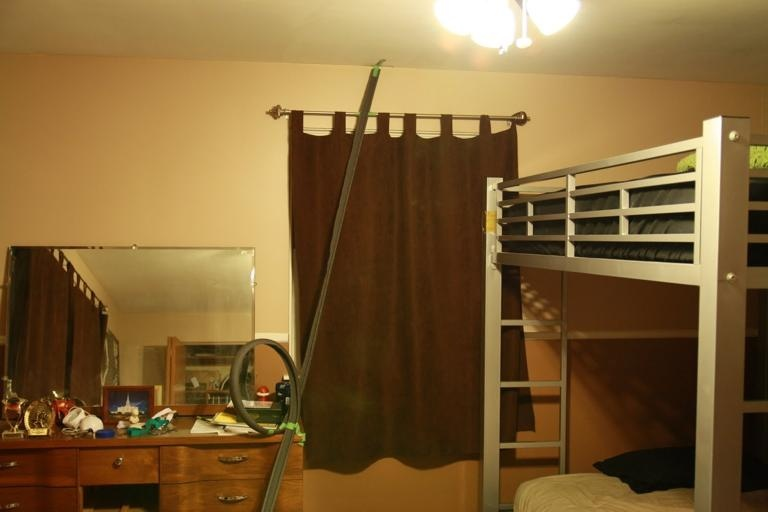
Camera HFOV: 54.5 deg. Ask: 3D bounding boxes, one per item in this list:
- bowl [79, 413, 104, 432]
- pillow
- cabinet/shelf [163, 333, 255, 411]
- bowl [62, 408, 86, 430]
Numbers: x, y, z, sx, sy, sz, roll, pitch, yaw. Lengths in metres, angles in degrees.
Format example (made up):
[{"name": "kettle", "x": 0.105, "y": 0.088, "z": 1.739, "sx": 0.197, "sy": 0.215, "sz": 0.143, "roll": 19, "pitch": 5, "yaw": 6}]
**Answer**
[{"name": "bowl", "x": -1.870, "y": 1.057, "z": 4.746, "sx": 0.108, "sy": 0.101, "sz": 0.109, "roll": -1, "pitch": 1, "yaw": 0}, {"name": "pillow", "x": 1.890, "y": 1.344, "z": 4.759, "sx": 0.656, "sy": 0.109, "sz": 0.415, "roll": -4, "pitch": 0, "yaw": -9}, {"name": "cabinet/shelf", "x": -1.209, "y": 0.813, "z": 5.284, "sx": 0.770, "sy": 0.737, "sz": 0.448, "roll": 1, "pitch": -5, "yaw": -10}, {"name": "bowl", "x": -1.993, "y": 1.041, "z": 4.771, "sx": 0.132, "sy": 0.057, "sz": 0.101, "roll": -18, "pitch": 41, "yaw": -6}]
